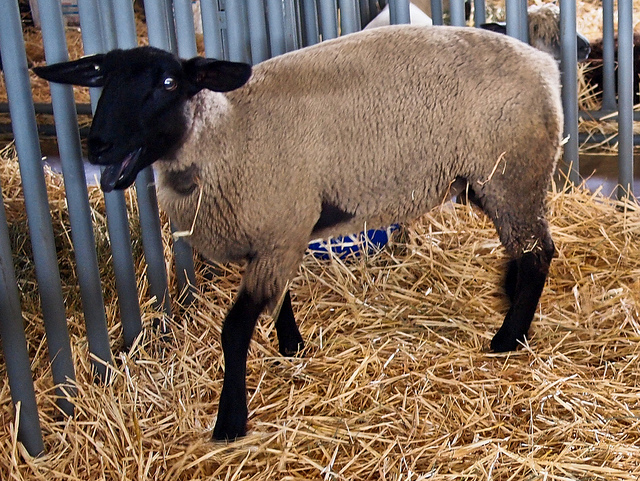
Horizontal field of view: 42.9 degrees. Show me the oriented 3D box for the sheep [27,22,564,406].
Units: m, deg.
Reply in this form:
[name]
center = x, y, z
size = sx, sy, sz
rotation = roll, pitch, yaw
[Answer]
[sheep]
center = 0.049, -0.314, 2.457
size = 1.599, 1.157, 0.728
rotation = -9, 24, -7
